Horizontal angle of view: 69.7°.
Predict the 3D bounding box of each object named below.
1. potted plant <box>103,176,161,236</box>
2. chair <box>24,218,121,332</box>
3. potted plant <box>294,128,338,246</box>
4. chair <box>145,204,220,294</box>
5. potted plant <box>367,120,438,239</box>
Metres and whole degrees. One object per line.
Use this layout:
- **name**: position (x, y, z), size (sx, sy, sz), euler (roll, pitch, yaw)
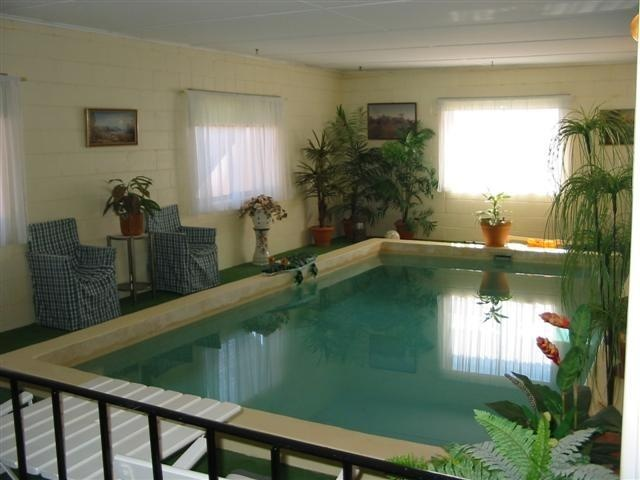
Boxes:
- **potted plant**: position (-2.487, -0.482, 6.333), size (0.777, 0.783, 0.797), euler (1, 3, 1)
- **chair**: position (-2.930, 0.384, 5.525), size (0.901, 1.224, 0.671), euler (3, 11, 23)
- **potted plant**: position (-0.004, -1.148, 9.932), size (0.759, 2.448, 1.040), euler (3, 11, 20)
- **chair**: position (-2.056, 0.078, 6.825), size (0.979, 1.142, 1.003), euler (-3, 9, -38)
- **potted plant**: position (1.970, -1.316, 10.252), size (1.321, 2.557, 0.628), euler (-3, 10, -13)
